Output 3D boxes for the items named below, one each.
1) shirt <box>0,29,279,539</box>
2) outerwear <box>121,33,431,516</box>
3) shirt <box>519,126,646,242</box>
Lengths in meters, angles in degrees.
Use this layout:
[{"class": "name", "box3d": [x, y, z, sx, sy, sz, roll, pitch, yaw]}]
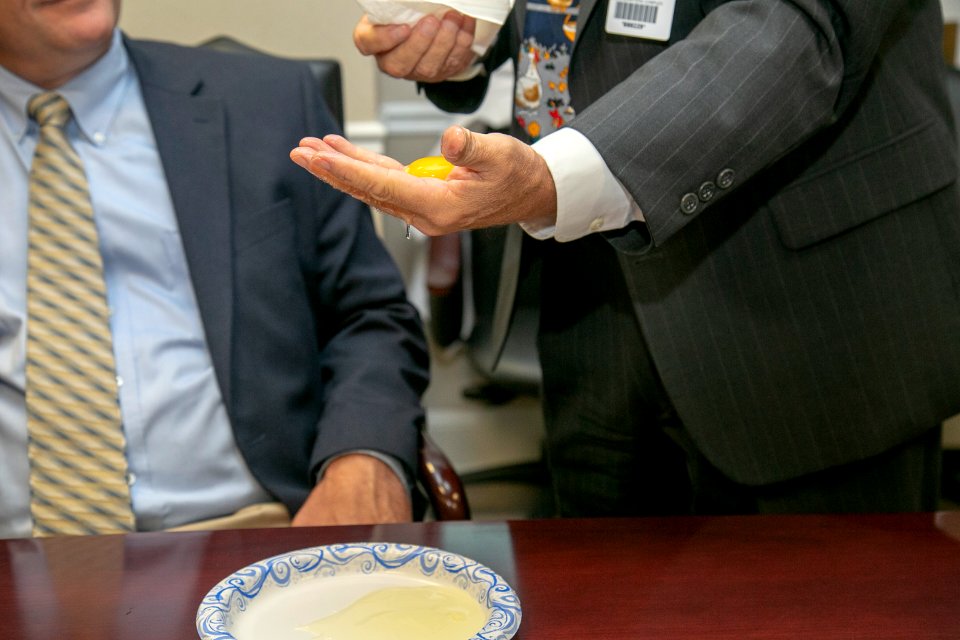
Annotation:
[{"class": "shirt", "box3d": [-0.638, 0.000, 1.908, 0.419, 0.176, 0.908, 1, 73, -19]}, {"class": "outerwear", "box3d": [-0.305, 0.125, 2.040, 0.402, 0.458, 0.785, -3, 70, 23]}, {"class": "shirt", "box3d": [0.149, -0.195, 1.540, 0.144, 0.158, 0.080, 21, 92, -9]}]
